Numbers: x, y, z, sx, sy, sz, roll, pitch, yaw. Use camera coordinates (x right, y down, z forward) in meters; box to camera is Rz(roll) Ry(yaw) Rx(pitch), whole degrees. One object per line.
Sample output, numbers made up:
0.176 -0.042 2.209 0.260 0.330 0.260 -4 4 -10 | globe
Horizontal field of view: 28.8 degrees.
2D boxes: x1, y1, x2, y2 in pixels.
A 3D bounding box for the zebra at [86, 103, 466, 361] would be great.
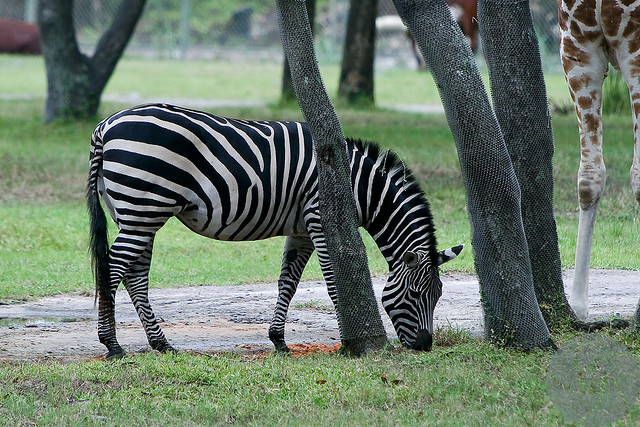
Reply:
-0.516 0.329 15.071 4.915 2.726 1.252 2 -8 -27 | zebra
